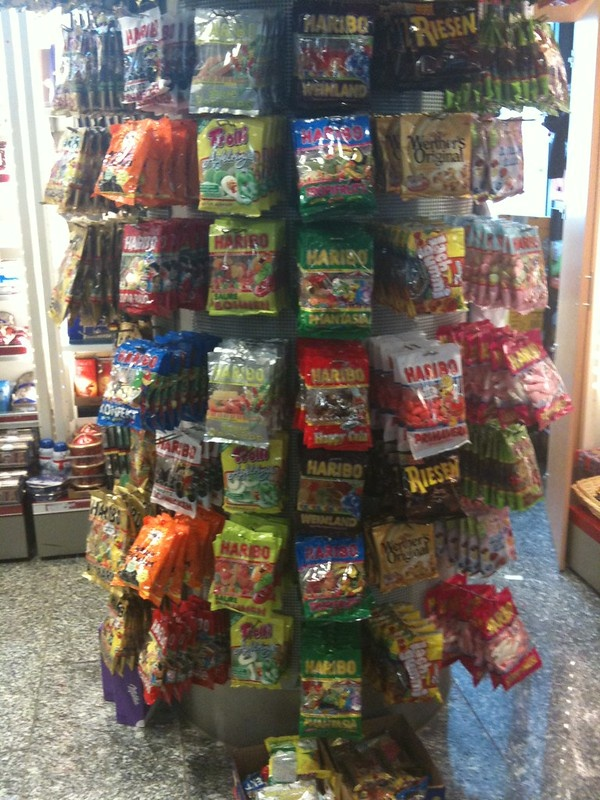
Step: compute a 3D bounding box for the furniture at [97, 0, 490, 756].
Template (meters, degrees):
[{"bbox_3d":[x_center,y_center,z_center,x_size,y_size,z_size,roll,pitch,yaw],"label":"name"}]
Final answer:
[{"bbox_3d":[0.143,0.093,2.051,1.278,1.968,0.489,2,2,9],"label":"furniture"}]
